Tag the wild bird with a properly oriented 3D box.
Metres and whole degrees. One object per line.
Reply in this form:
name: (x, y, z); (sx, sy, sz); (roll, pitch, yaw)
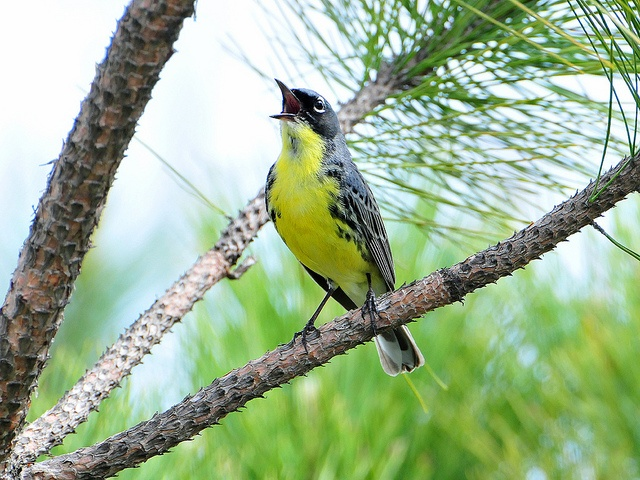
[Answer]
wild bird: (0.179, -0.025, 4.635); (0.595, 1.470, 1.699); (-7, -19, 31)
